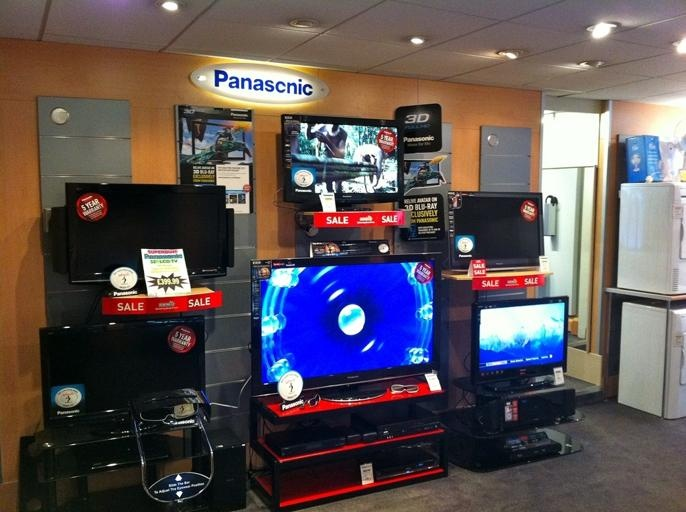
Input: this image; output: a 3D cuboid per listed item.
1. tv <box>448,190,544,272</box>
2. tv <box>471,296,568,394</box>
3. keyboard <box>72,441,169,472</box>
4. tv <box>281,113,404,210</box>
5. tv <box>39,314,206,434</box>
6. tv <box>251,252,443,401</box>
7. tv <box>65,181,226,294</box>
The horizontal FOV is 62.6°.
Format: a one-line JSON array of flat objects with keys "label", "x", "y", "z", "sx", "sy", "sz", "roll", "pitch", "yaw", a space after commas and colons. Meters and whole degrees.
[{"label": "tv", "x": 1.227, "y": -0.203, "z": 4.619, "sx": 0.911, "sy": 0.625, "sz": 0.080, "roll": -2, "pitch": 4, "yaw": -20}, {"label": "tv", "x": 1.399, "y": 0.709, "z": 4.513, "sx": 0.829, "sy": 0.666, "sz": 0.160, "roll": -1, "pitch": 1, "yaw": -18}, {"label": "keyboard", "x": -1.401, "y": 1.235, "z": 3.513, "sx": 0.321, "sy": 0.070, "sz": 0.317, "roll": 1, "pitch": -2, "yaw": -41}, {"label": "tv", "x": -0.031, "y": -0.710, "z": 4.195, "sx": 0.800, "sy": 0.510, "sz": 0.081, "roll": -1, "pitch": -1, "yaw": -21}, {"label": "tv", "x": -1.394, "y": 0.742, "z": 3.712, "sx": 1.024, "sy": 0.575, "sz": 0.082, "roll": -6, "pitch": -3, "yaw": -6}, {"label": "tv", "x": -0.017, "y": 0.505, "z": 4.044, "sx": 1.161, "sy": 0.700, "sz": 0.049, "roll": -3, "pitch": 0, "yaw": -23}, {"label": "tv", "x": -1.228, "y": -0.137, "z": 3.663, "sx": 1.004, "sy": 0.641, "sz": 0.086, "roll": -3, "pitch": 7, "yaw": -27}]
